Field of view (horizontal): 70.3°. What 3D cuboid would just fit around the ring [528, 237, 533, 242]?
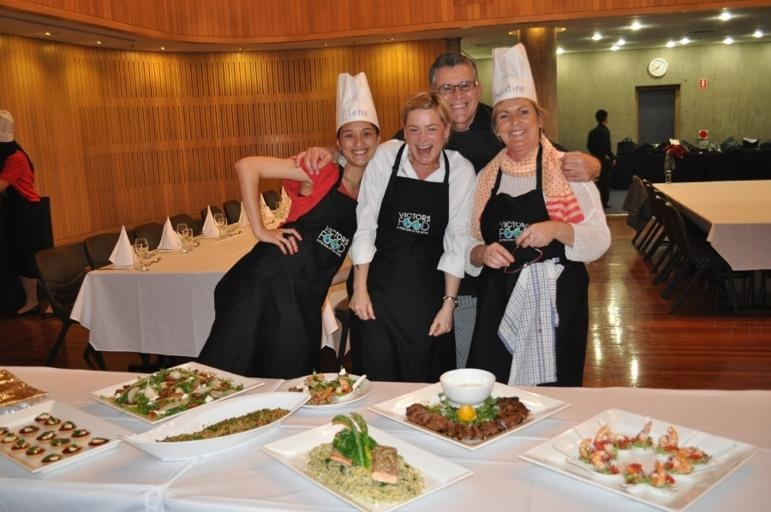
[{"bbox_3d":[0.689,-0.081,2.592,0.024,0.022,0.006,1,-1,-7],"label":"ring"}]

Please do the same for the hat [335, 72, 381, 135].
[{"bbox_3d":[-0.169,-0.866,3.054,0.226,0.321,0.238,-3,14,-5],"label":"hat"}]

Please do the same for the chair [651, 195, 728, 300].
[{"bbox_3d":[3.698,-0.104,6.588,0.537,0.797,1.206,-5,16,8],"label":"chair"}]

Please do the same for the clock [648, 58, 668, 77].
[{"bbox_3d":[7.585,-5.253,15.159,0.528,0.543,0.073,-2,14,2],"label":"clock"}]

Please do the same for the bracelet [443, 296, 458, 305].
[{"bbox_3d":[0.368,0.233,3.076,0.064,0.071,0.037,27,-22,-31],"label":"bracelet"}]

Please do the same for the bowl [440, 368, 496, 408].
[{"bbox_3d":[0.311,0.506,2.058,0.205,0.092,0.204,-3,6,0],"label":"bowl"}]

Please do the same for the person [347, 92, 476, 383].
[{"bbox_3d":[0.163,0.143,3.186,0.660,2.072,0.594,0,22,-1],"label":"person"}]

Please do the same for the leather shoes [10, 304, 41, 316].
[{"bbox_3d":[-4.603,0.684,6.949,0.376,0.145,0.133,1,4,-6],"label":"leather shoes"}]

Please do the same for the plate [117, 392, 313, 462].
[{"bbox_3d":[-0.604,0.600,1.959,0.500,0.075,0.224,-10,17,-36],"label":"plate"}]

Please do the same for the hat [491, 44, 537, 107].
[{"bbox_3d":[0.656,-0.977,2.898,0.251,0.343,0.243,-4,-3,24],"label":"hat"}]
